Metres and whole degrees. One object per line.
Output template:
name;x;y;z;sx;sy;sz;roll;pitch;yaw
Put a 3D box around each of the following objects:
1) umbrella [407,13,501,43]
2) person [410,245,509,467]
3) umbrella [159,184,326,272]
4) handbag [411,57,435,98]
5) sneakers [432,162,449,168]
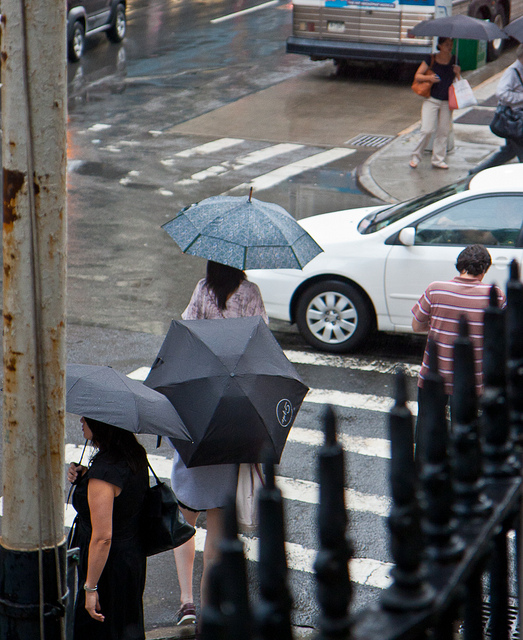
umbrella;2.335;-3.513;15.252;1.126;0.344;0.781;3;7;19
person;1.016;0.087;7.097;0.443;1.405;0.421;3;40;0
umbrella;-0.170;-0.495;7.234;0.833;0.414;1.004;6;8;36
handbag;1.927;-2.856;15.117;0.247;0.428;0.450;1;6;3
sneakers;2.199;-1.914;15.725;0.161;0.083;0.093;7;19;39
